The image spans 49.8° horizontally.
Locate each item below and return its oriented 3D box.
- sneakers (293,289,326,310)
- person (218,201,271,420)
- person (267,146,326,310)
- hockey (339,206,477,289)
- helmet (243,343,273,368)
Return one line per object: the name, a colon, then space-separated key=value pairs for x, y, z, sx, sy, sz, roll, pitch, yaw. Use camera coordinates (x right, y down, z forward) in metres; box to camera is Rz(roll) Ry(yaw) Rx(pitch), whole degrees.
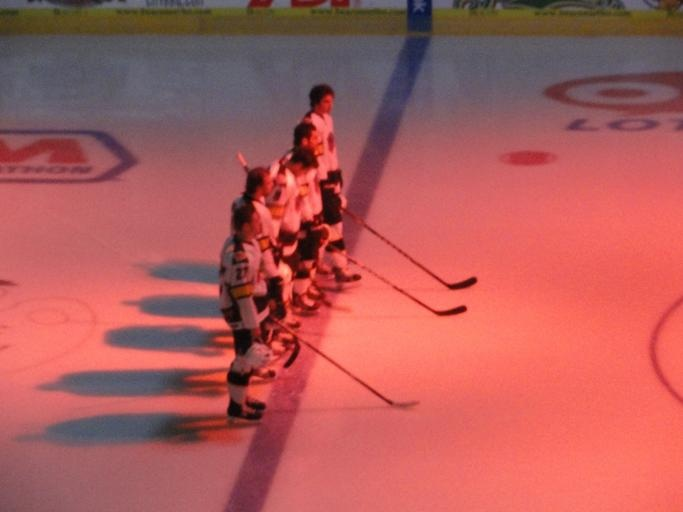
sneakers: x=-0.303 y=0.401 z=6.697 sx=0.345 sy=0.146 sz=0.118 roll=7 pitch=17 yaw=36
person: x=-0.713 y=0.392 z=5.384 sx=0.351 sy=1.604 sz=0.599 roll=-4 pitch=23 yaw=-7
person: x=-0.375 y=-0.192 z=6.324 sx=0.312 sy=1.499 sz=0.612 roll=9 pitch=24 yaw=22
hockey: x=0.447 y=-0.101 z=7.259 sx=1.780 sy=0.139 sz=0.570 roll=32 pitch=34 yaw=16
helmet: x=-0.595 y=0.711 z=5.335 sx=0.209 sy=0.186 sz=0.141 roll=-16 pitch=10 yaw=2
